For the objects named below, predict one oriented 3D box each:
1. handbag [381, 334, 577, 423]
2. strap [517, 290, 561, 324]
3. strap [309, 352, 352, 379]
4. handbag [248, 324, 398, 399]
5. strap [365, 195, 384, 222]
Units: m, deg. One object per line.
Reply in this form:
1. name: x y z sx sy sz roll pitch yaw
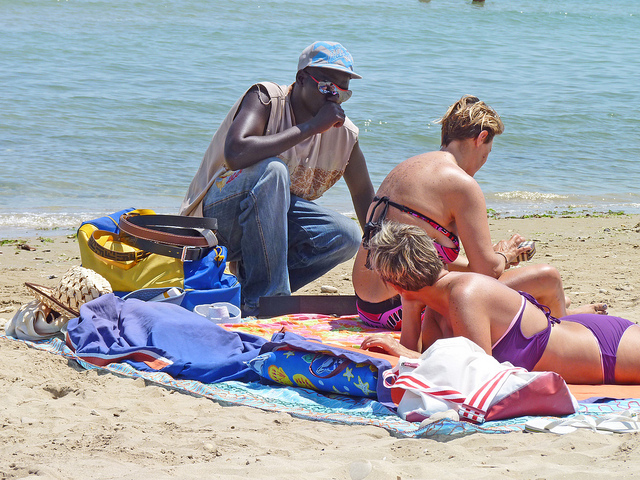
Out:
1. handbag: 1.323 1.174 8.715 1.364 0.348 0.802 0 0 -3
2. strap: 1.944 0.589 9.110 0.393 0.105 0.265 32 -6 5
3. strap: 0.087 1.097 8.993 0.189 0.283 0.064 58 -4 38
4. handbag: 0.027 1.093 9.229 0.969 0.260 0.841 7 4 15
5. strap: 0.504 -0.303 9.725 0.069 0.203 0.180 25 9 -5
